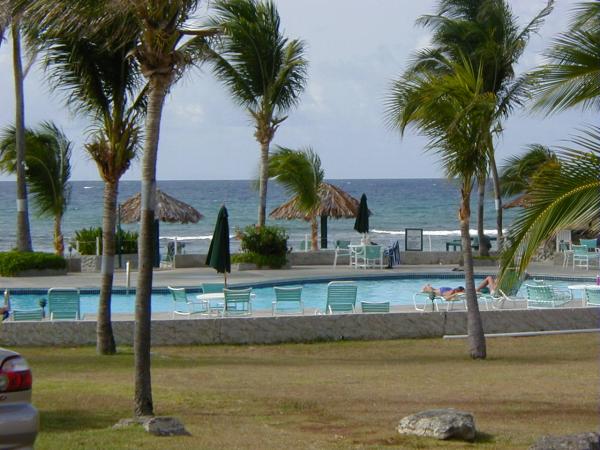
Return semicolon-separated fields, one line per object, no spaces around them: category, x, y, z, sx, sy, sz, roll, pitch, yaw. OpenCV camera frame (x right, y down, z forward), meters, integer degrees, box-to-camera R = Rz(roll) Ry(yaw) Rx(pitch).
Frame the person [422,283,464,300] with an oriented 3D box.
person;3.271;1.537;26.645;0.532;0.213;1.097;1;1;27
